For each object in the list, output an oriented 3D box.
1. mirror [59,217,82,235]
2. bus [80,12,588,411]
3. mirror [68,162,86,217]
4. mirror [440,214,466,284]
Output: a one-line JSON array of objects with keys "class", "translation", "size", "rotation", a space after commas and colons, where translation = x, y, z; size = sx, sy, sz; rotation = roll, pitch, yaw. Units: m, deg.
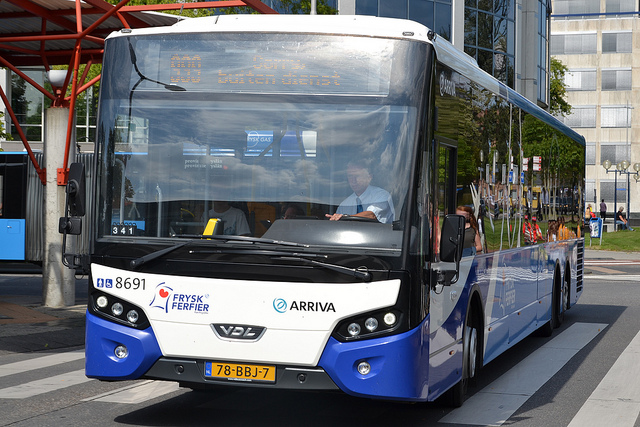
[{"class": "mirror", "translation": [-2.548, 0.122, 6.815], "size": [0.260, 0.215, 0.152], "rotation": [2, -3, 26]}, {"class": "bus", "translation": [0.997, 0.124, 7.921], "size": [6.848, 4.368, 2.754], "rotation": [1, 1, -40]}, {"class": "mirror", "translation": [-2.454, -0.244, 6.636], "size": [0.173, 0.522, 0.136], "rotation": [-3, -2, 22]}, {"class": "mirror", "translation": [1.304, 0.245, 6.540], "size": [0.229, 0.399, 0.334], "rotation": [1, 1, 11]}]
